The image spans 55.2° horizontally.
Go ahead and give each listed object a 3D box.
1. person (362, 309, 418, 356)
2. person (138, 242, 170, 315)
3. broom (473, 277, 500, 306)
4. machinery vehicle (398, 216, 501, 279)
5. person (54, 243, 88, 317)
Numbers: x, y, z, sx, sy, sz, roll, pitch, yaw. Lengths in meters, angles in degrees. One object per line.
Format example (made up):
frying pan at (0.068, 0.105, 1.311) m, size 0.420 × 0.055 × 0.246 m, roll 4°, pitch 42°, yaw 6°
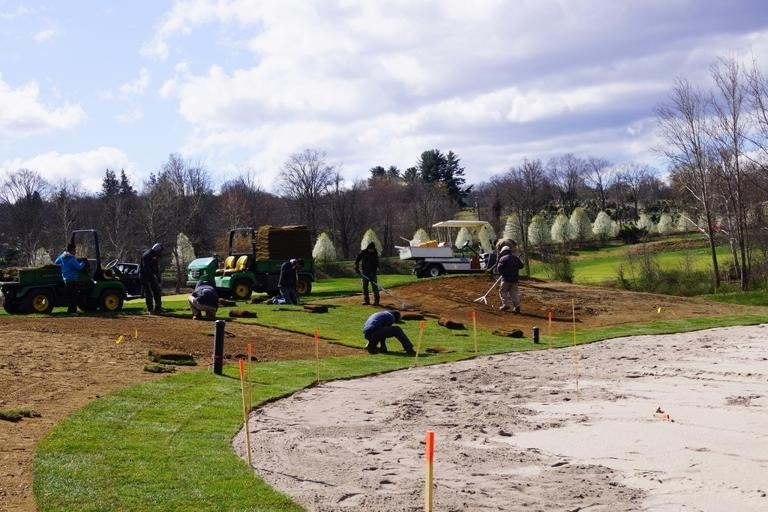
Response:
person at (0.093, 2.447, 23.303) m, size 1.428 × 1.310 × 0.713 m, roll 1°, pitch 7°, yaw 0°
person at (-8.913, 0.869, 27.876) m, size 1.307 × 2.667 × 1.105 m, roll 4°, pitch -2°, yaw -8°
broom at (4.731, 1.654, 33.285) m, size 0.724 × 0.071 × 1.849 m, roll 28°, pitch 43°, yaw 14°
machinery vehicle at (3.982, -0.252, 42.484) m, size 5.683 × 3.028 × 3.055 m, roll -1°, pitch 1°, yaw -11°
person at (-11.487, 0.844, 26.973) m, size 0.898 × 2.667 × 1.316 m, roll -3°, pitch 8°, yaw -27°
